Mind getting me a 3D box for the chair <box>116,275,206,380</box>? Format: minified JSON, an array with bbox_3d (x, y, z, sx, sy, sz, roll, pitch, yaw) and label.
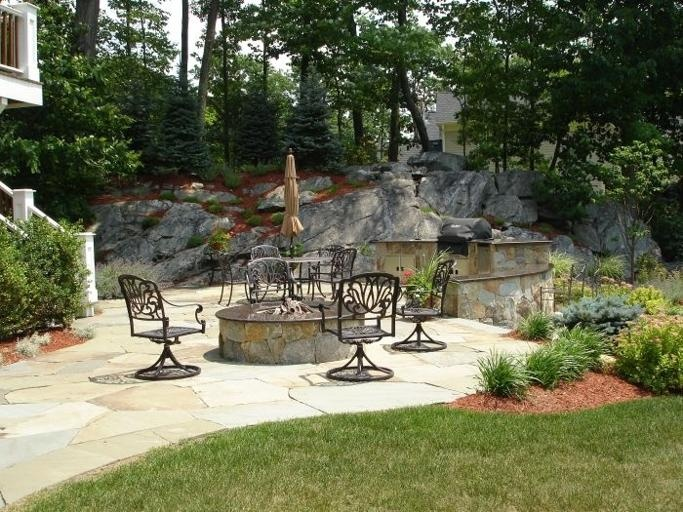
[{"bbox_3d":[-2.550,0.952,10.074,1.234,1.433,0.925,8,14,37],"label":"chair"}]
